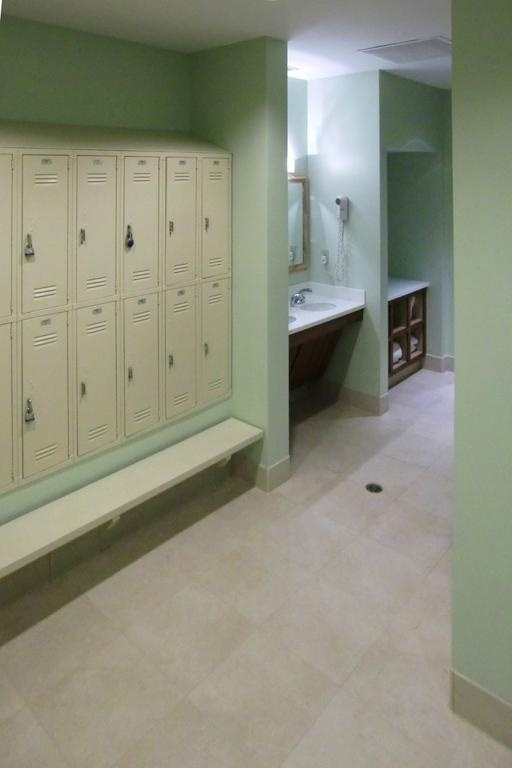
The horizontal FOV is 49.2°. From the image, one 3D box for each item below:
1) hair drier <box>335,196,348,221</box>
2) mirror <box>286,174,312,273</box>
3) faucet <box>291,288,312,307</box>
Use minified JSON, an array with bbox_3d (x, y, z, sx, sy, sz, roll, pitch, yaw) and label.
[{"bbox_3d":[0.731,-1.474,4.732,0.119,0.207,0.096,6,14,23],"label":"hair drier"},{"bbox_3d":[0.367,-1.382,4.861,0.093,0.782,0.415,8,15,32],"label":"mirror"},{"bbox_3d":[0.407,-0.777,5.017,0.090,0.146,0.322,5,22,24],"label":"faucet"}]
